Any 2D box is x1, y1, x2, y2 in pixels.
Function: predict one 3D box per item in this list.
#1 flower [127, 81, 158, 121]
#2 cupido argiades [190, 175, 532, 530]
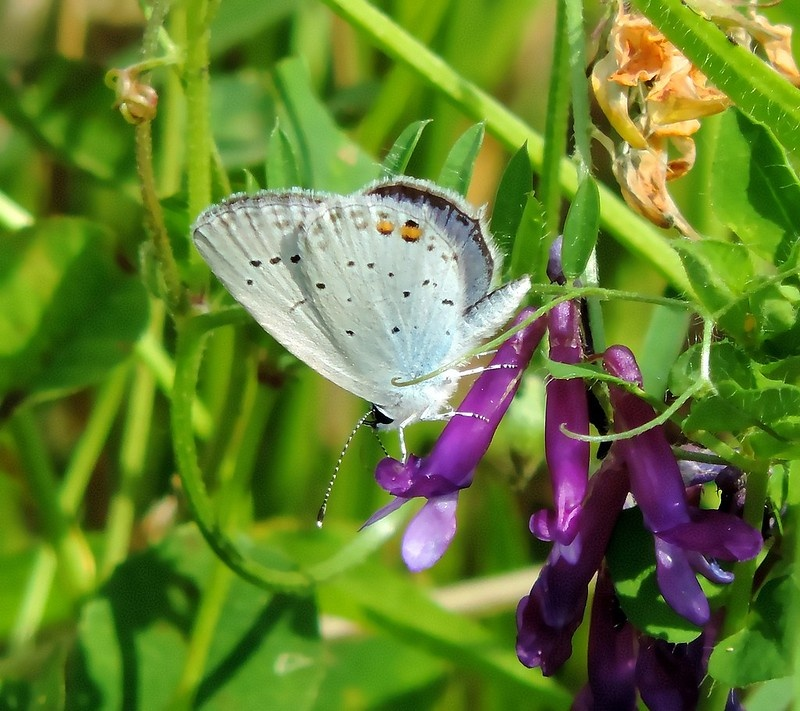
[{"bbox_3d":[-0.239,-0.236,0.870,0.015,0.026,0.037,20,50,-47],"label":"flower"},{"bbox_3d":[-0.031,-0.071,0.896,0.205,0.280,0.344,35,12,11],"label":"cupido argiades"}]
